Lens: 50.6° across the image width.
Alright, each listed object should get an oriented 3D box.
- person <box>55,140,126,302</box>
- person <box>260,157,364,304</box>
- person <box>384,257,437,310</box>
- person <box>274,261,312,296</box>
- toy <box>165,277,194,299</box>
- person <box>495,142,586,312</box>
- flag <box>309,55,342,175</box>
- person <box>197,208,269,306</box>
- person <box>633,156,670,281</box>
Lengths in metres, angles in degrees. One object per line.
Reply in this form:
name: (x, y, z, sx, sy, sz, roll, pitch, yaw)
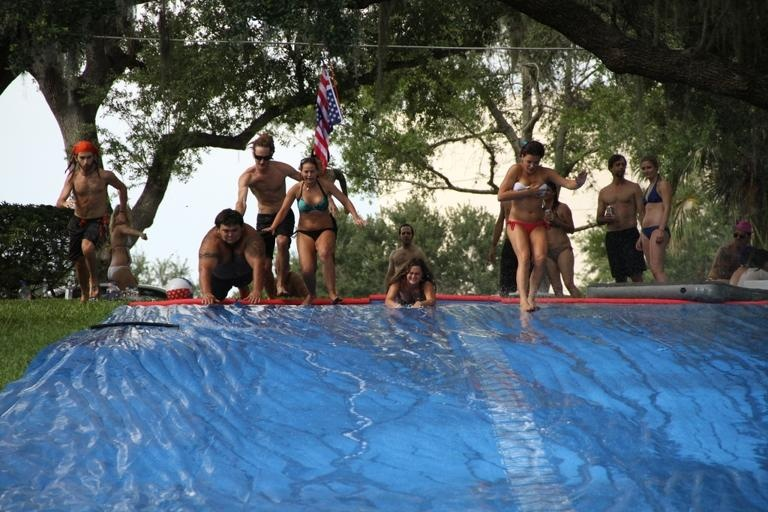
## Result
person: (-5.062, -0.643, 13.541, 1.040, 2.790, 1.157, -1, -3, -24)
person: (-1.013, -0.366, 11.962, 1.109, 2.098, 0.704, -1, -2, -9)
person: (0.401, 0.480, 12.093, 0.740, 0.896, 1.140, -1, 11, -3)
person: (-1.564, 0.364, 13.372, 0.735, 0.679, 0.406, -3, 5, -33)
toy: (-3.917, 0.592, 15.093, 0.421, 0.367, 0.464, -10, 30, 7)
person: (2.109, -0.396, 11.105, 0.991, 2.306, 0.674, -2, -2, 9)
flag: (-1.154, -2.812, 15.845, 0.529, 2.469, 0.302, -13, 46, -17)
person: (-2.332, 0.017, 11.940, 0.952, 1.351, 1.118, -1, -3, -15)
person: (4.396, -0.607, 12.786, 0.484, 2.038, 0.778, -2, -2, 0)
